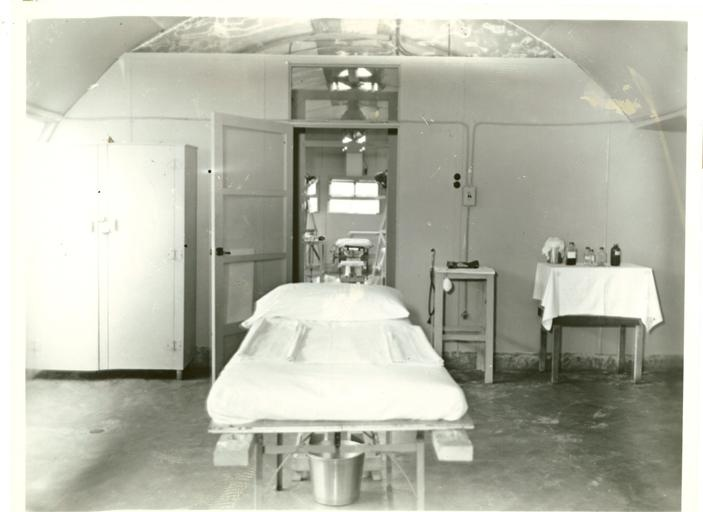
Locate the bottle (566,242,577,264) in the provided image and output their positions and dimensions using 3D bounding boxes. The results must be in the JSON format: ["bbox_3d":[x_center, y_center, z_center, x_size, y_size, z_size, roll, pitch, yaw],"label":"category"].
[{"bbox_3d":[1.894,-0.015,5.917,0.092,0.204,0.195,-1,-2,14],"label":"bottle"}]

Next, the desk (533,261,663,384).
[{"bbox_3d":[2.146,0.536,6.193,1.028,1.005,1.080,1,-2,6],"label":"desk"}]

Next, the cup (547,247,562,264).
[{"bbox_3d":[1.791,-0.006,6.008,0.133,0.151,0.132,0,-2,0],"label":"cup"}]

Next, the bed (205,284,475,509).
[{"bbox_3d":[-0.073,0.654,4.329,1.457,0.963,1.355,-1,-2,-1],"label":"bed"}]

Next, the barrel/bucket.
[{"bbox_3d":[-0.084,1.301,4.151,0.352,0.285,0.386,0,-9,0],"label":"barrel/bucket"}]
